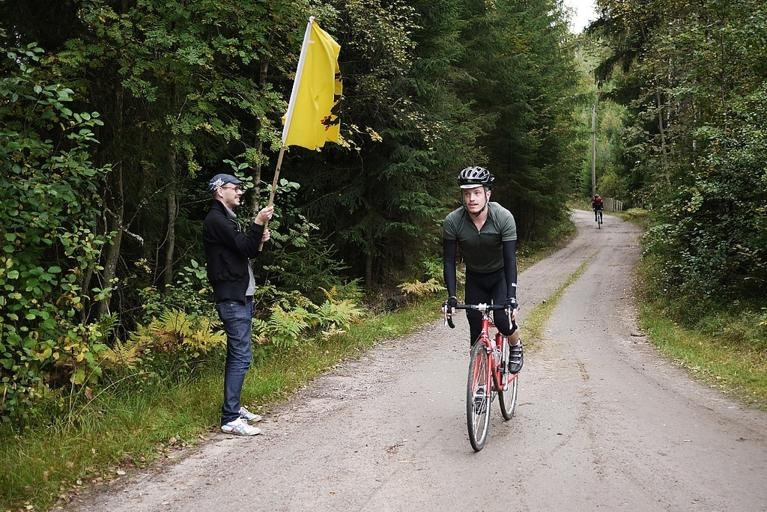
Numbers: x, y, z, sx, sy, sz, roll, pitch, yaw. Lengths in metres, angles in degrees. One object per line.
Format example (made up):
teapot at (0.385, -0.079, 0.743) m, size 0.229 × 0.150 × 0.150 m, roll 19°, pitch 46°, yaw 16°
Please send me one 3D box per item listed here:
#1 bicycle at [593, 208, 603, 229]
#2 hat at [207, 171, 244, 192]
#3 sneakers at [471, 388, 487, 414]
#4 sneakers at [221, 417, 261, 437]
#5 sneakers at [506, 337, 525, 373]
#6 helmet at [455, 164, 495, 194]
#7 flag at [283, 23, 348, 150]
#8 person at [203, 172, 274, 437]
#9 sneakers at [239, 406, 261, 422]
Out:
bicycle at (13.921, -2.495, 44.924) m, size 0.783 × 1.024 × 1.696 m, roll -1°, pitch 16°, yaw 9°
hat at (-2.411, -1.131, 10.451) m, size 0.386 × 0.213 × 0.268 m, roll -17°, pitch 12°, yaw -13°
sneakers at (1.388, 2.100, 9.964) m, size 0.132 × 0.367 × 0.247 m, roll -1°, pitch -17°, yaw 40°
sneakers at (-2.136, 2.587, 10.496) m, size 0.626 × 0.287 × 0.244 m, roll 3°, pitch -2°, yaw 3°
sneakers at (2.036, 1.565, 10.786) m, size 0.171 × 0.610 × 0.238 m, roll -3°, pitch -24°, yaw 31°
helmet at (1.362, -1.172, 10.249) m, size 0.465 × 0.333 × 0.668 m, roll 2°, pitch 15°, yaw 6°
flag at (-1.118, -2.696, 11.047) m, size 0.436 × 2.060 × 1.325 m, roll 10°, pitch 17°, yaw 35°
person at (-2.176, 0.730, 10.384) m, size 0.850 × 3.729 × 1.107 m, roll -4°, pitch 15°, yaw -16°
sneakers at (-2.099, 2.462, 10.760) m, size 0.372 × 0.179 × 0.171 m, roll 3°, pitch 1°, yaw 19°
